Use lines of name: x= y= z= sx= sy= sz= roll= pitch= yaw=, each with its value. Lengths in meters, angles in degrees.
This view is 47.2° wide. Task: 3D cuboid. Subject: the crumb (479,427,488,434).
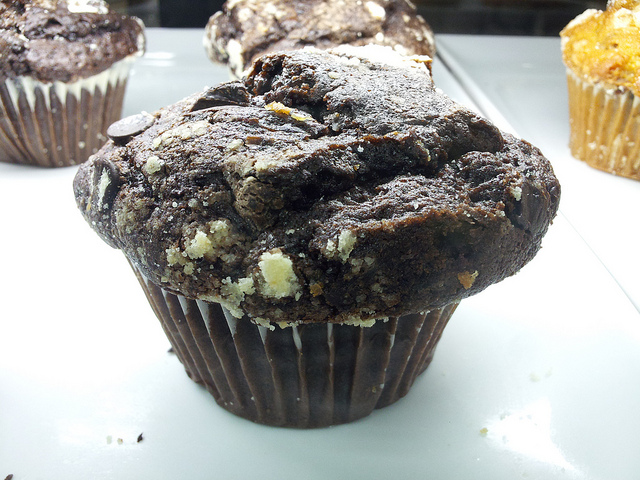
crumb: x=0.568 y=0.669 z=2.544 sx=0.031 sy=0.005 sz=0.021 roll=-12 pitch=48 yaw=-15

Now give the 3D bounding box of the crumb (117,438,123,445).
crumb: x=-0.684 y=0.696 z=2.505 sx=0.014 sy=0.006 sz=0.017 roll=2 pitch=53 yaw=-5
